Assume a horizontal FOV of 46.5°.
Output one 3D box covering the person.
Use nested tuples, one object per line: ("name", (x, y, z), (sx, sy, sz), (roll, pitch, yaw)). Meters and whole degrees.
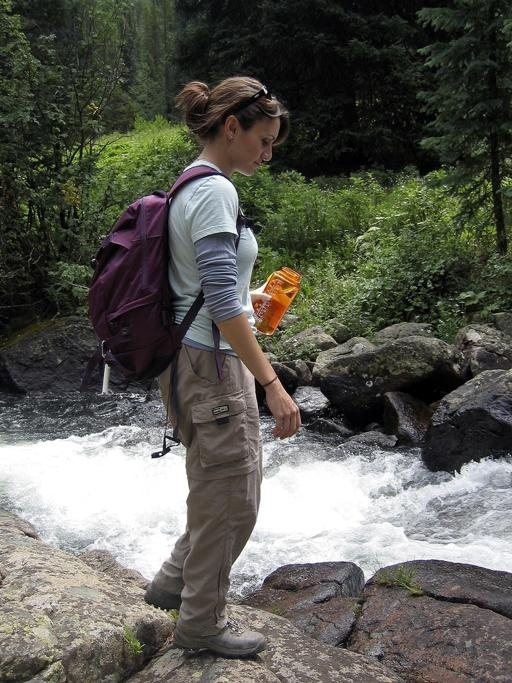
("person", (-0.149, 0.110, 2.120), (0.589, 2.028, 0.624), (-4, 15, 3))

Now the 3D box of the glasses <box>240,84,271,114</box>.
("glasses", (-0.002, -0.818, 2.038), (0.030, 0.100, 0.102), (49, 12, 10))

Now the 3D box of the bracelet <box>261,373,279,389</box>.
("bracelet", (0.049, 0.128, 1.965), (0.047, 0.012, 0.046), (-27, 1, -43))

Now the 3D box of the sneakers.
("sneakers", (-0.242, 1.011, 2.219), (0.532, 0.219, 0.161), (1, 3, 7))
